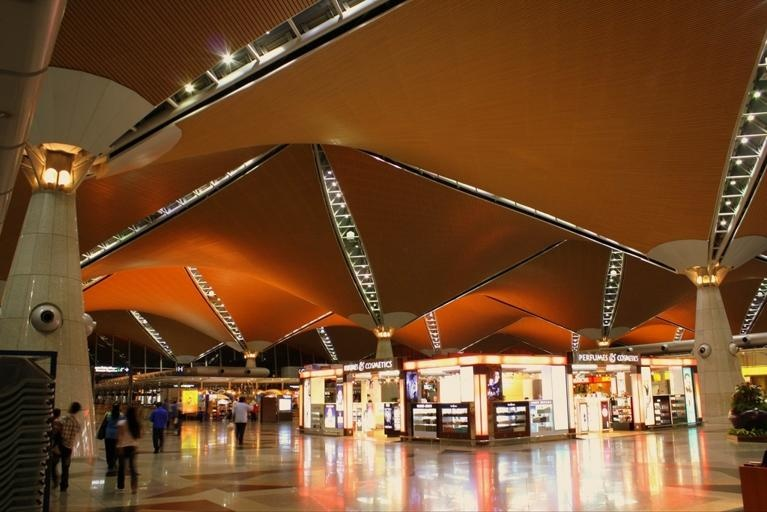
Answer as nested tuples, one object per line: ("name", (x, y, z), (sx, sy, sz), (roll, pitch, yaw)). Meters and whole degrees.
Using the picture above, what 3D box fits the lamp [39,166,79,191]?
("lamp", (-10.321, -2.465, 14.997), (0.704, 0.515, 0.703), (2, -4, -9))

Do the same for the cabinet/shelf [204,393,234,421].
("cabinet/shelf", (-16.101, 14.770, 46.468), (2.352, 2.418, 3.152), (-15, -20, 41))

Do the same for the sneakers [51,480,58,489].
("sneakers", (-8.107, 5.659, 11.709), (0.130, 0.222, 0.517), (8, -18, -33))

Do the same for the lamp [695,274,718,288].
("lamp", (18.619, 1.424, 27.353), (1.215, 0.667, 0.729), (-5, -15, 13))

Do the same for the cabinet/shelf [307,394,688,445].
("cabinet/shelf", (6.400, 8.087, 23.457), (9.440, 1.927, 4.113), (4, -16, -20))

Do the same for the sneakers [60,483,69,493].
("sneakers", (-7.796, 5.680, 11.570), (0.198, 0.219, 0.195), (16, -30, -34))
